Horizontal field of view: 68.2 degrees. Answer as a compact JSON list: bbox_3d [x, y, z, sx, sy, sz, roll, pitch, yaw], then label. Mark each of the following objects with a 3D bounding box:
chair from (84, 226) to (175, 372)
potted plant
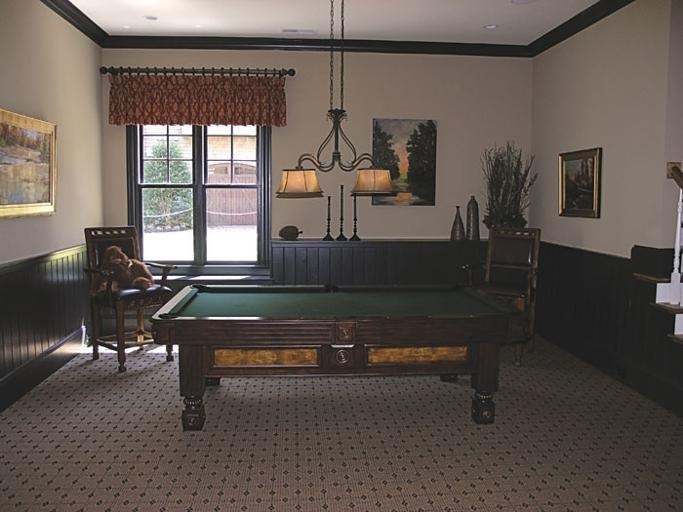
[{"bbox_3d":[-2.396,0.451,5.776,0.893,1.520,0.846,-3,8,-38],"label":"chair"},{"bbox_3d":[2.235,-0.942,6.599,0.713,1.082,0.772,1,13,4],"label":"potted plant"}]
